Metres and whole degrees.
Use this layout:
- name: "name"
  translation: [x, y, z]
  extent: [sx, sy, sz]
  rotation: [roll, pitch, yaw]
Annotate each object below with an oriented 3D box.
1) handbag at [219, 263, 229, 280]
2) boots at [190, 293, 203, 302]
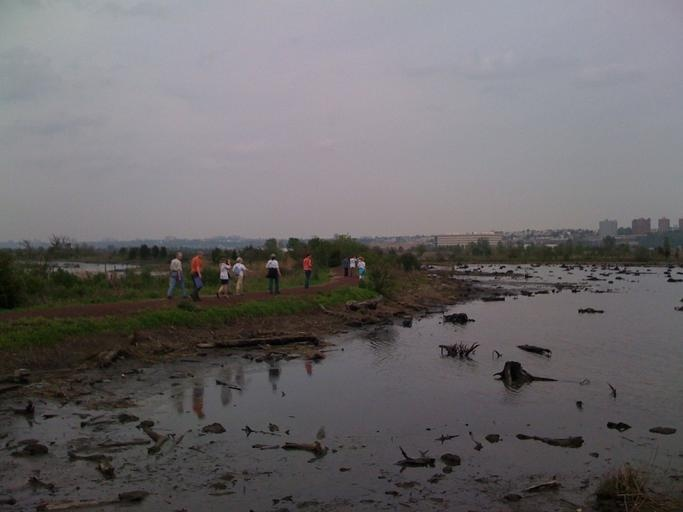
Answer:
- name: "handbag"
  translation: [-6.019, 0.798, 29.881]
  extent: [0.362, 0.983, 0.566]
  rotation: [-2, 13, -21]
- name: "boots"
  translation: [-7.114, 2.030, 28.639]
  extent: [0.579, 0.595, 0.285]
  rotation: [-2, 16, -35]
